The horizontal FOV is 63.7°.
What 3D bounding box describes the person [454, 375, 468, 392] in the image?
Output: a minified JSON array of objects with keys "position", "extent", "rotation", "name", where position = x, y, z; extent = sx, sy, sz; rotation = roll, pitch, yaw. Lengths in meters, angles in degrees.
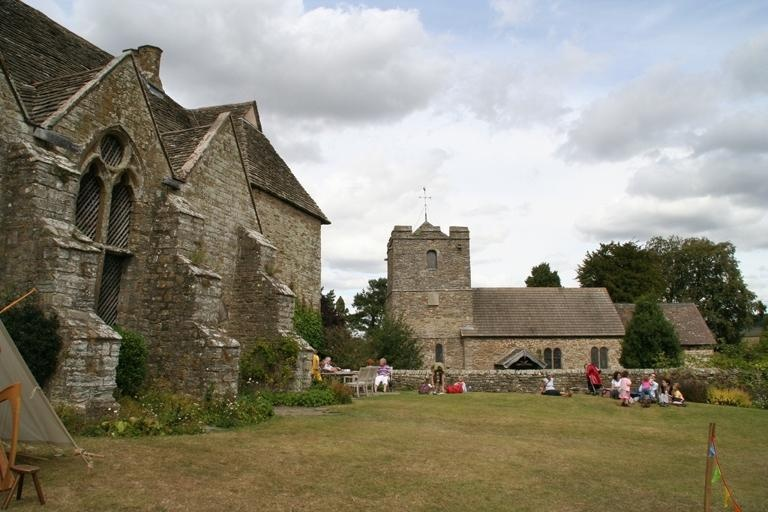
[{"position":[3.918,6.401,30.852],"extent":[0.746,1.064,0.705],"rotation":[-2,-15,-2],"name":"person"}]
